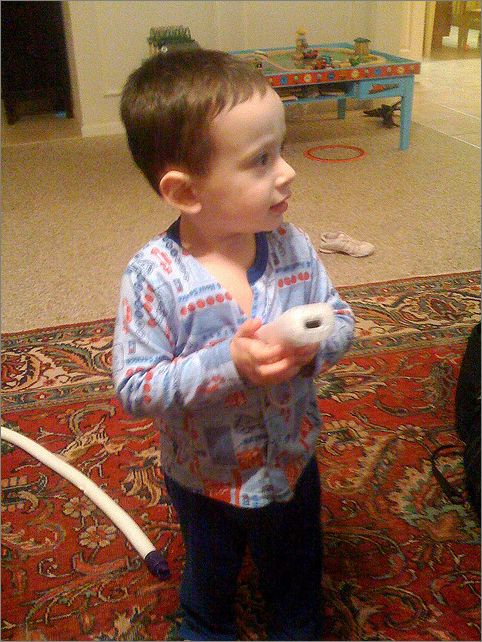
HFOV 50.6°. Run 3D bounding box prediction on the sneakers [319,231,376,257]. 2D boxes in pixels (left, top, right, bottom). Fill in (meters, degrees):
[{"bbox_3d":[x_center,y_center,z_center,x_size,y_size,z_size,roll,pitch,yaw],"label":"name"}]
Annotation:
[{"bbox_3d":[0.472,-0.347,2.305,0.243,0.091,0.107,4,37,2],"label":"sneakers"}]
